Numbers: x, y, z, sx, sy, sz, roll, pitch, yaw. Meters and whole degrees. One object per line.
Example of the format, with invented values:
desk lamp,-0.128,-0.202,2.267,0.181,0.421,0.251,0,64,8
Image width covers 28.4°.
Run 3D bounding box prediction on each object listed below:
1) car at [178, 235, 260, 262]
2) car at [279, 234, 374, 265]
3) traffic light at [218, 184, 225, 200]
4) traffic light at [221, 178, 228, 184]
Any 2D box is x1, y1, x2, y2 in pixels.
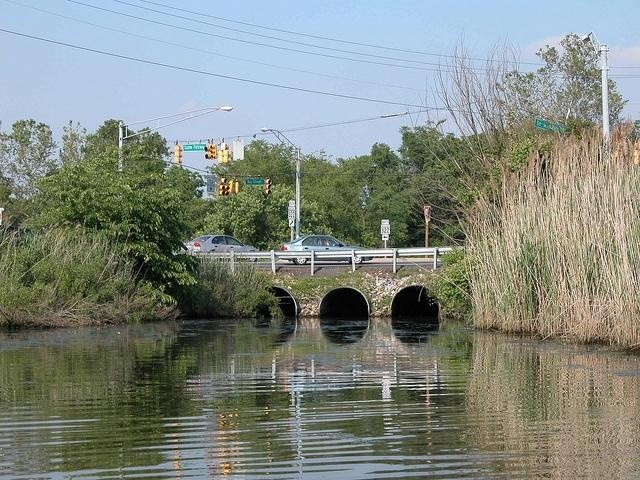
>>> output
car,-4.033,0.317,49.332,2.902,1.048,1.251,-4,5,-32
car,0.160,0.668,46.308,2.938,1.095,1.354,-1,1,-5
traffic light,-3.978,-1.890,50.952,0.216,0.469,1.202,-1,7,-9
traffic light,-3.819,-2.239,50.679,0.247,0.279,0.260,3,-1,-30
